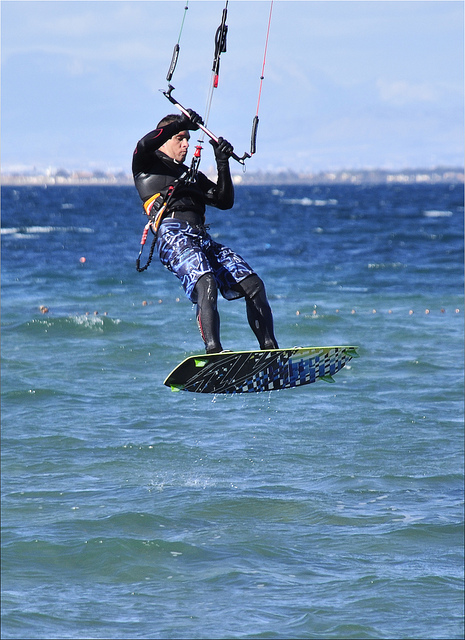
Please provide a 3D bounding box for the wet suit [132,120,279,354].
[{"bbox_3d":[-0.227,-1.200,19.043,1.525,3.250,1.583,-10,22,-31],"label":"wet suit"}]

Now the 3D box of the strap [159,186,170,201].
[{"bbox_3d":[-0.876,-1.616,19.047,0.132,0.188,0.069,7,2,-1],"label":"strap"}]

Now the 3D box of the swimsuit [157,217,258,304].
[{"bbox_3d":[-0.391,-0.828,19.003,0.973,1.239,0.987,-8,13,-3],"label":"swimsuit"}]
